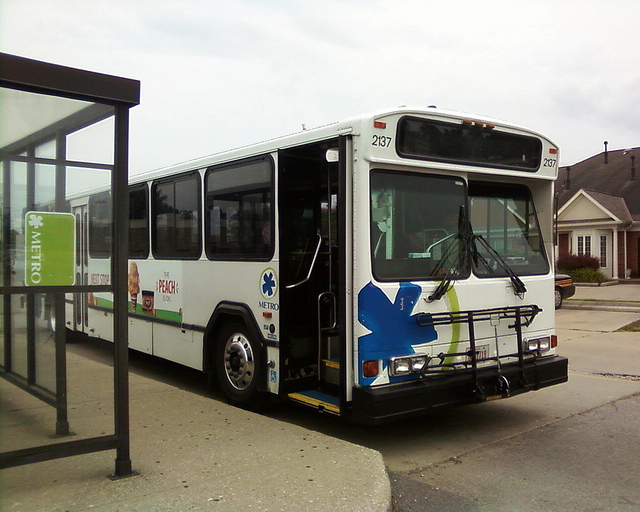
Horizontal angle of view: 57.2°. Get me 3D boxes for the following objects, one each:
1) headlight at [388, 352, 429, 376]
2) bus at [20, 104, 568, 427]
[{"bbox_3d":[0.935,1.153,6.216,0.496,0.178,0.043,-1,0,-27],"label":"headlight"},{"bbox_3d":[-0.524,0.153,8.105,7.059,2.802,2.949,-1,0,28],"label":"bus"}]
